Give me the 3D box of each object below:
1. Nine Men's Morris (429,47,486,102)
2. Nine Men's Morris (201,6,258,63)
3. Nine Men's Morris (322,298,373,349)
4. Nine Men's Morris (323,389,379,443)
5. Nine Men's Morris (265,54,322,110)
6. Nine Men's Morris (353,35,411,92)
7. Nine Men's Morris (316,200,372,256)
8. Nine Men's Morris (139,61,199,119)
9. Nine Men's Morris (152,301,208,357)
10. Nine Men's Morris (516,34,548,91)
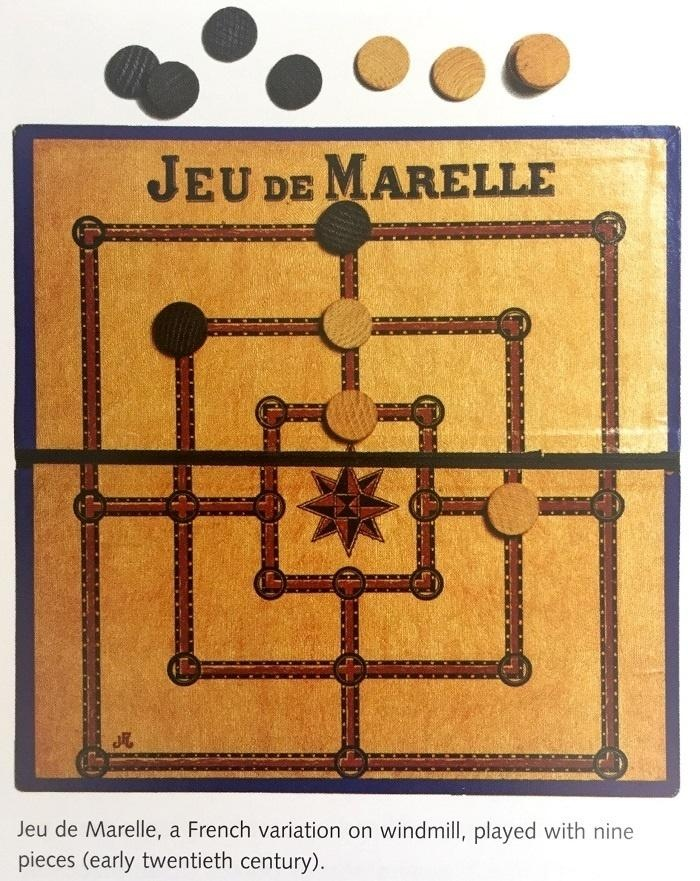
[{"bbox_3d":[0.187,-0.650,3.943,0.096,0.051,0.075,-14,-48,10],"label":"Nine Men's Morris"},{"bbox_3d":[-0.212,-0.719,3.942,0.080,0.051,0.094,36,-58,-29],"label":"Nine Men's Morris"},{"bbox_3d":[-0.007,-0.204,3.956,0.077,0.017,0.089,19,-86,-2],"label":"Nine Men's Morris"},{"bbox_3d":[0.002,-0.035,3.962,0.094,0.055,0.081,0,-47,-2],"label":"Nine Men's Morris"},{"bbox_3d":[-0.100,-0.635,3.946,0.097,0.052,0.074,-13,-48,10],"label":"Nine Men's Morris"},{"bbox_3d":[0.053,-0.668,3.941,0.097,0.055,0.078,-1,-47,-1],"label":"Nine Men's Morris"},{"bbox_3d":[-0.014,-0.378,3.964,0.094,0.056,0.068,-1,-47,-1],"label":"Nine Men's Morris"},{"bbox_3d":[-0.318,-0.621,3.947,0.104,0.054,0.081,2,-47,-3],"label":"Nine Men's Morris"},{"bbox_3d":[-0.301,-0.196,3.964,0.082,0.019,0.100,3,-89,2],"label":"Nine Men's Morris"},{"bbox_3d":[0.317,-0.666,3.941,0.059,0.060,0.085,-7,-47,6],"label":"Nine Men's Morris"}]
